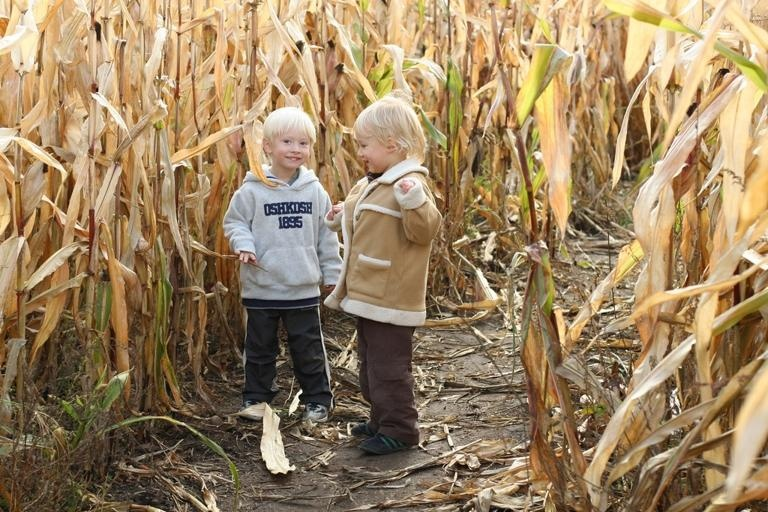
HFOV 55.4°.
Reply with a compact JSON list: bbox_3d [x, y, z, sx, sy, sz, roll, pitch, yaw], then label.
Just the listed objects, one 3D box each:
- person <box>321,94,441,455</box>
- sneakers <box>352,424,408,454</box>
[{"bbox_3d":[-0.002,0.063,2.704,0.367,1.255,0.480,-4,16,-20],"label":"person"},{"bbox_3d":[-0.010,0.683,2.684,0.158,0.065,0.092,16,6,-14],"label":"sneakers"}]
